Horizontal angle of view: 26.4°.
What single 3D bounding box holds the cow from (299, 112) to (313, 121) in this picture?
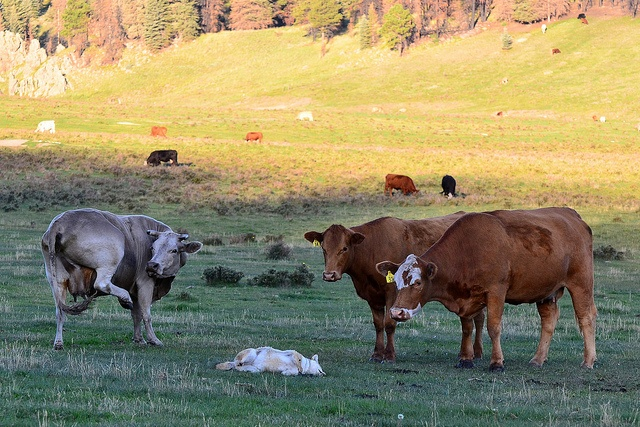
[{"bbox_3d":[-2.918,-19.493,270.683,2.246,0.884,2.253,6,17,26],"label":"cow"}]
